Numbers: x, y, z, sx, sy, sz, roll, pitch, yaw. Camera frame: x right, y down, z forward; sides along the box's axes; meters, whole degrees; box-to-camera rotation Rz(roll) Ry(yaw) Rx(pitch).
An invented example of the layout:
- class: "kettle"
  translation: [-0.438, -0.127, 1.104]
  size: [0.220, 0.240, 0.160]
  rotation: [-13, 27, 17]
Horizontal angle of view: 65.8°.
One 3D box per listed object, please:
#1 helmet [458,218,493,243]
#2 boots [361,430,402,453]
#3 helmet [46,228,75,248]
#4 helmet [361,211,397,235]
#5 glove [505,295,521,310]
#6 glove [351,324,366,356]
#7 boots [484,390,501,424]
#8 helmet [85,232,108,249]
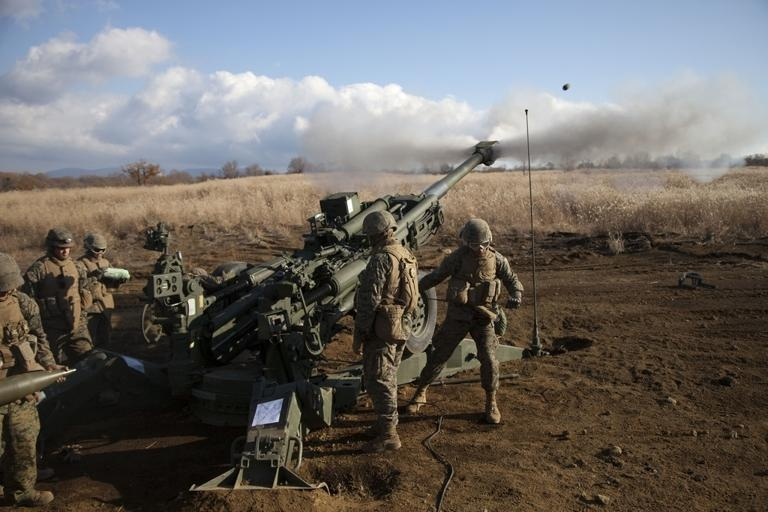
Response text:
- class: "helmet"
  translation: [1.460, -0.366, 9.255]
  size: [0.410, 0.363, 0.452]
  rotation: [3, 15, 11]
- class: "boots"
  translation: [0.001, 2.653, 8.494]
  size: [0.607, 0.410, 0.244]
  rotation: [1, 2, 3]
- class: "helmet"
  translation: [-5.437, -0.308, 9.937]
  size: [0.426, 0.210, 0.307]
  rotation: [4, 6, 29]
- class: "helmet"
  translation: [-0.070, -0.480, 8.734]
  size: [0.427, 0.263, 0.318]
  rotation: [15, 13, 31]
- class: "glove"
  translation: [2.091, 0.754, 9.586]
  size: [0.240, 0.132, 0.302]
  rotation: [-14, -4, -20]
- class: "glove"
  translation: [-0.354, 1.211, 8.584]
  size: [0.159, 0.446, 0.288]
  rotation: [-2, 7, -5]
- class: "boots"
  translation: [1.714, 2.276, 9.184]
  size: [0.250, 0.492, 0.498]
  rotation: [0, 6, 11]
- class: "helmet"
  translation: [-5.444, -0.289, 11.008]
  size: [0.470, 0.242, 0.323]
  rotation: [14, 11, 27]
